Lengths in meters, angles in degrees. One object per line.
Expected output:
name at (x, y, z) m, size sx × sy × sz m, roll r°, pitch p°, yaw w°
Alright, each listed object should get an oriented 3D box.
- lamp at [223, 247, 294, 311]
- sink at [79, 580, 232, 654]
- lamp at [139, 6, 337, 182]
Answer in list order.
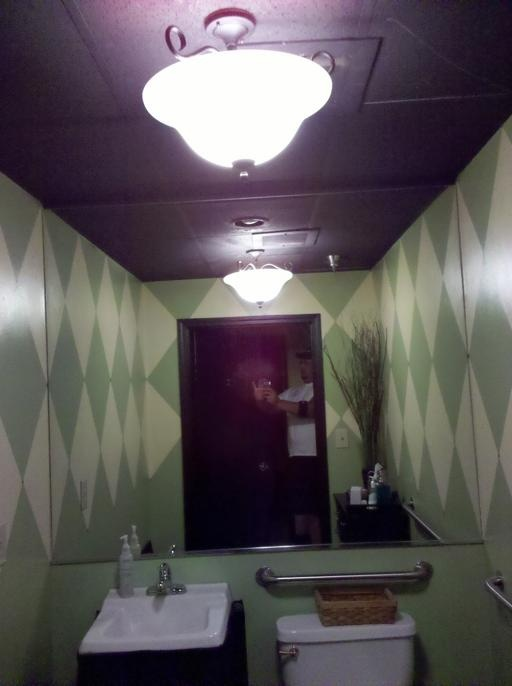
lamp at (0.005, -0.199, 1.682) m, size 0.128 × 0.188 × 0.170 m, roll -1°, pitch -16°, yaw 4°
sink at (-0.269, 0.771, 1.461) m, size 0.382 × 0.121 × 0.298 m, roll -1°, pitch -10°, yaw 3°
lamp at (-0.035, -0.399, 0.930) m, size 0.326 × 0.103 × 0.232 m, roll 1°, pitch -10°, yaw -9°
